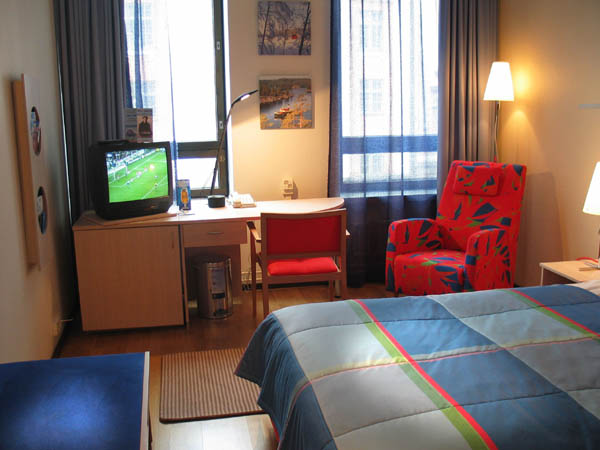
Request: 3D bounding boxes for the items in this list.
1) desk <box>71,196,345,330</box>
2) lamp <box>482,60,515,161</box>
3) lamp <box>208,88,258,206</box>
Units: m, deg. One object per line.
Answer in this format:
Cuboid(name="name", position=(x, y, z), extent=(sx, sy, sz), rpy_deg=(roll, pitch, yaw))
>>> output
Cuboid(name="desk", position=(-0.632, 0.326, 3.780), extent=(1.953, 0.951, 0.700), rpy_deg=(-2, 12, -13))
Cuboid(name="lamp", position=(1.727, -0.977, 4.043), extent=(0.239, 0.879, 0.490), rpy_deg=(6, 15, 24))
Cuboid(name="lamp", position=(-0.555, -0.672, 3.963), extent=(0.461, 0.934, 0.637), rpy_deg=(-3, 15, -10))
